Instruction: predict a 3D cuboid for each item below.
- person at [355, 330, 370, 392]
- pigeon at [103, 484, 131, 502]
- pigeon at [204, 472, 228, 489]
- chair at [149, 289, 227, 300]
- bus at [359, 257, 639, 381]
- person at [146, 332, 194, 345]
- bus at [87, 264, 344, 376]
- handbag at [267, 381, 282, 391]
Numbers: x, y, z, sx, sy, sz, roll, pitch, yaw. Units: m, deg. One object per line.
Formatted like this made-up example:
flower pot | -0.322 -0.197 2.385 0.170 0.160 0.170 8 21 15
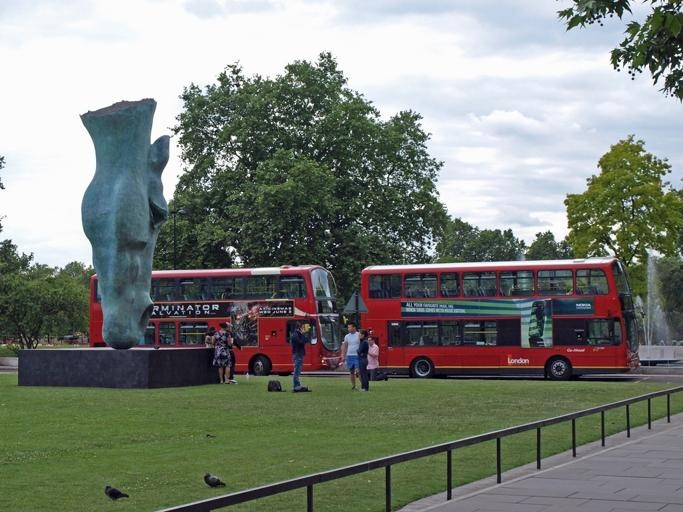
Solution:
person | 0.676 3.226 38.926 0.358 1.845 0.977 -2 -5 0
pigeon | -4.616 4.851 25.859 0.476 0.315 0.460 -1 -6 -9
pigeon | -2.645 4.674 26.287 0.430 0.321 0.490 -1 -5 -7
chair | -5.995 1.542 50.171 3.550 0.568 0.638 0 1 8
bus | 5.638 2.498 48.790 12.012 5.155 4.174 -2 -1 21
person | -6.960 3.428 50.750 2.307 0.588 0.687 -1 -1 11
bus | -5.639 2.635 52.797 11.603 4.999 4.083 -1 -1 16
handbag | -2.099 4.043 39.133 0.405 0.298 0.265 -2 1 -3
